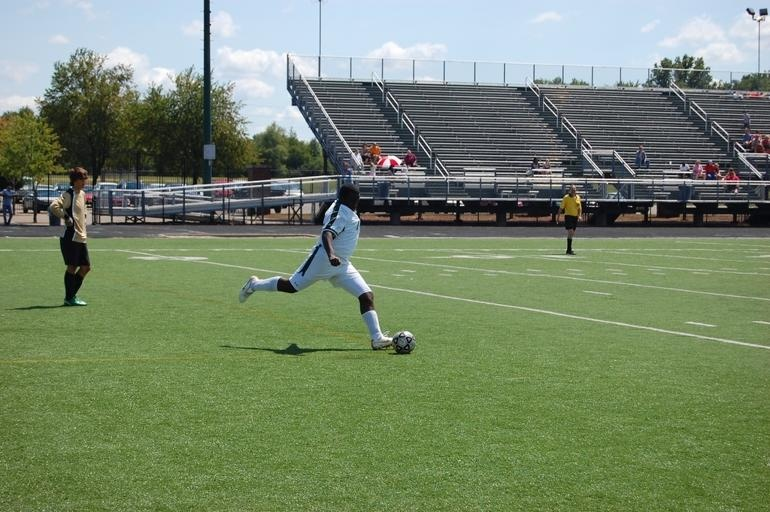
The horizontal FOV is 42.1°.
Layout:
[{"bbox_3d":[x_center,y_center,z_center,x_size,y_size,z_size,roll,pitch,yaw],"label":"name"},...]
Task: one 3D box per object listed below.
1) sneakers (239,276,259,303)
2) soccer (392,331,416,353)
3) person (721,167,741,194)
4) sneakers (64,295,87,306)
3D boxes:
[{"bbox_3d":[-2.209,0.564,16.192,0.186,0.488,0.216,19,25,-37],"label":"sneakers"},{"bbox_3d":[0.243,1.165,13.583,0.308,0.270,0.286,4,-39,-3],"label":"soccer"},{"bbox_3d":[15.517,-3.332,44.882,0.936,1.115,2.058,0,0,19],"label":"person"},{"bbox_3d":[-5.166,0.746,16.697,0.343,0.128,0.168,0,6,-10],"label":"sneakers"}]
